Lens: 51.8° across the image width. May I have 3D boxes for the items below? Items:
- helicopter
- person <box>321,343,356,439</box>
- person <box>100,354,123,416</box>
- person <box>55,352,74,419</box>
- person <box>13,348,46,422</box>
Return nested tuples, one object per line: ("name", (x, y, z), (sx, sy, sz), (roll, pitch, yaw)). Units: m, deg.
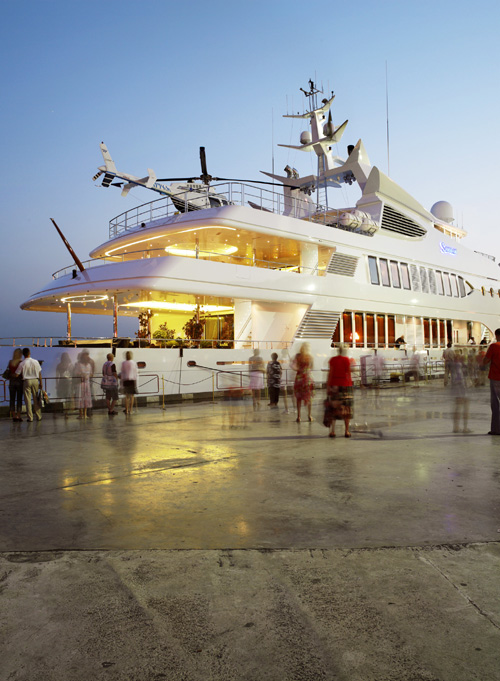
("helicopter", (-2.472, -6.347, 21.463), (7.804, 2.005, 6.287), (-1, 14, -39))
("person", (1.628, 0.939, 9.615), (0.536, 1.659, 1.050), (-1, -2, 8))
("person", (-3.908, 1.197, 14.287), (0.432, 1.653, 1.029), (0, -2, -15))
("person", (-5.465, 1.195, 15.013), (0.483, 1.687, 0.235), (0, -2, -22))
("person", (-5.357, 1.098, 12.456), (0.440, 1.807, 0.593), (-1, -2, 12))
